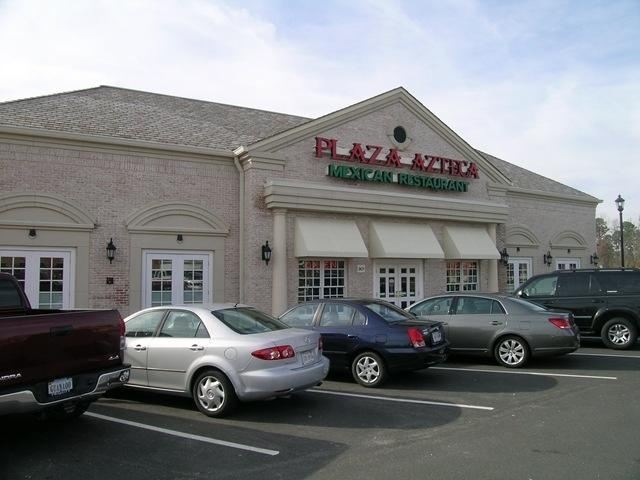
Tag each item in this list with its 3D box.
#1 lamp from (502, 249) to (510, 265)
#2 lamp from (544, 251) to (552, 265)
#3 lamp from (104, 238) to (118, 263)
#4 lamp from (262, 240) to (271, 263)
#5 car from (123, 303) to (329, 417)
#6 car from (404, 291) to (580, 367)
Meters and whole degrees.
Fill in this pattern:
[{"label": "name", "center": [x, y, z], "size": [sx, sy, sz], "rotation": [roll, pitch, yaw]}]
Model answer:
[{"label": "lamp", "center": [8.524, 0.714, 23.292], "size": [0.269, 0.753, 0.871], "rotation": [-1, -1, 18]}, {"label": "lamp", "center": [11.938, 0.919, 26.333], "size": [0.603, 0.746, 0.276], "rotation": [1, -2, -42]}, {"label": "lamp", "center": [-6.592, 0.321, 16.012], "size": [0.314, 0.812, 0.260], "rotation": [0, -1, -22]}, {"label": "lamp", "center": [-1.851, 0.404, 17.464], "size": [0.310, 0.777, 0.271], "rotation": [0, -1, -18]}, {"label": "car", "center": [-1.827, 2.069, 8.959], "size": [3.241, 1.758, 0.992], "rotation": [-1, -1, 24]}, {"label": "car", "center": [4.610, 2.186, 12.752], "size": [4.485, 1.222, 1.840], "rotation": [1, -2, 30]}]
